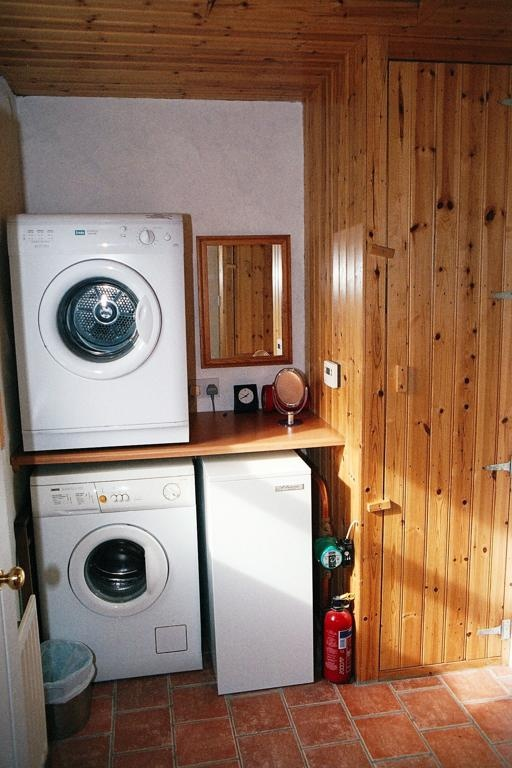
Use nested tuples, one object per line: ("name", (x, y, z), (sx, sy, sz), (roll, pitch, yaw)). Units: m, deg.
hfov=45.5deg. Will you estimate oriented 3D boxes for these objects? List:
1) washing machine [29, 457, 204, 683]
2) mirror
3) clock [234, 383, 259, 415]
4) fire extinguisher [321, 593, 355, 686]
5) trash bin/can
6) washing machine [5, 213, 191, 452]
("washing machine", (-0.557, 0.674, 2.610), (0.662, 0.823, 0.714), (1, 10, -12))
("mirror", (-0.045, -0.392, 2.862), (0.434, 0.637, 0.020), (-1, 18, -1))
("clock", (-0.050, 0.074, 2.921), (0.133, 0.168, 0.052), (-1, -4, -16))
("fire extinguisher", (0.288, 0.966, 2.343), (0.126, 0.333, 0.154), (2, 9, -3))
("trash bin/can", (-0.664, 1.065, 2.176), (0.189, 0.253, 0.259), (-3, 6, -19))
("washing machine", (-0.632, -0.240, 2.424), (0.598, 0.880, 0.514), (0, 15, -19))
